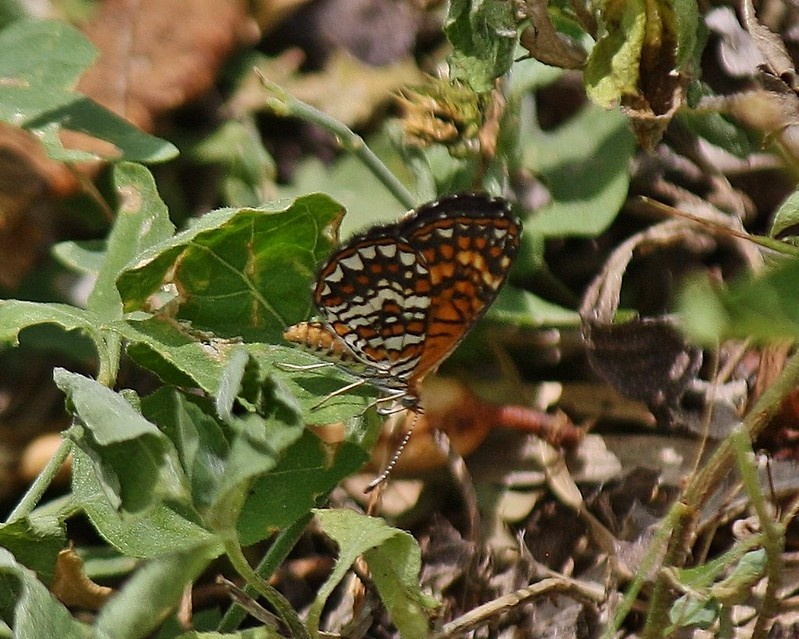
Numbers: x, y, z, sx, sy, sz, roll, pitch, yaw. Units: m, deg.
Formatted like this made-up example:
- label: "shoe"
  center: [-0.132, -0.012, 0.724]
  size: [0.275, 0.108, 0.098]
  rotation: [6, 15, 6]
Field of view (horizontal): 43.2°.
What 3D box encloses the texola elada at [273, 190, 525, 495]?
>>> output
- label: "texola elada"
  center: [-0.005, 0.047, 1.552]
  size: [0.246, 0.364, 0.246]
  rotation: [30, 76, 11]
